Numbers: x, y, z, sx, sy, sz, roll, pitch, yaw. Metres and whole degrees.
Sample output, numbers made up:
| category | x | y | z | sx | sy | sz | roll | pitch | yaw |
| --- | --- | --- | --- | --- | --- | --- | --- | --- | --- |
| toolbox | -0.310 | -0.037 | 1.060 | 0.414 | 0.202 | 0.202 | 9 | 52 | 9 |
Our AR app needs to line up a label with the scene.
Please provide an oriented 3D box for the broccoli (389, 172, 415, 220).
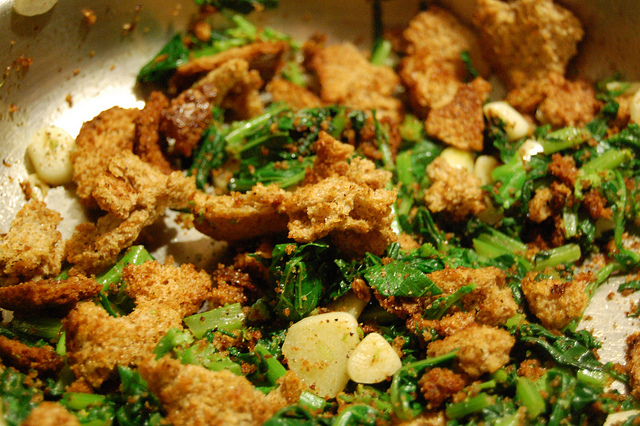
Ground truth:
| category | x | y | z | sx | sy | sz | roll | pitch | yaw |
| --- | --- | --- | --- | --- | --- | --- | --- | --- | --- |
| broccoli | 0.747 | -0.161 | 5.174 | 0.087 | 0.295 | 0.327 | 6 | 43 | 14 |
